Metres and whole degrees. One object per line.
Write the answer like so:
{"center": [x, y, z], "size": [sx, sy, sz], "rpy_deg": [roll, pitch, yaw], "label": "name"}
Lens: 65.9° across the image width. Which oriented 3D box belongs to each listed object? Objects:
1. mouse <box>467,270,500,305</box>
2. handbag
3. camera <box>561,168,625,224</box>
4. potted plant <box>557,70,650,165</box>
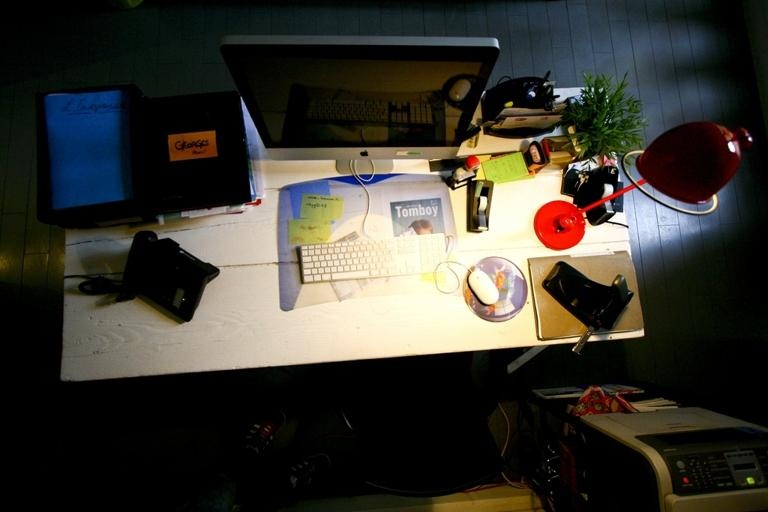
{"center": [0.495, 0.151, 3.007], "size": [0.120, 0.062, 0.195], "rpy_deg": [-38, 80, -3], "label": "mouse"}
{"center": [-1.077, 0.090, 2.948], "size": [0.426, 0.109, 0.319], "rpy_deg": [26, 82, 3], "label": "handbag"}
{"center": [1.065, -0.338, 3.074], "size": [0.291, 0.080, 0.296], "rpy_deg": [-37, 71, 34], "label": "camera"}
{"center": [1.115, -0.703, 3.031], "size": [0.376, 0.288, 0.425], "rpy_deg": [-29, 83, -4], "label": "potted plant"}
